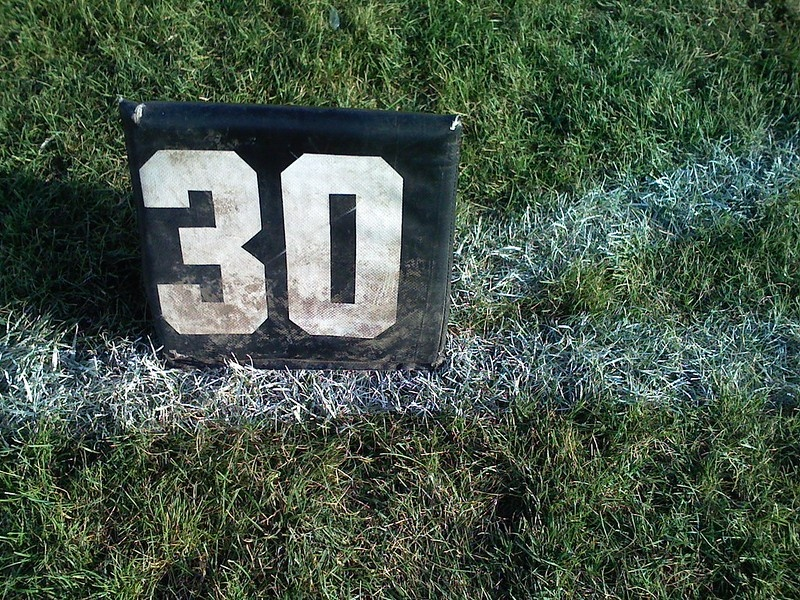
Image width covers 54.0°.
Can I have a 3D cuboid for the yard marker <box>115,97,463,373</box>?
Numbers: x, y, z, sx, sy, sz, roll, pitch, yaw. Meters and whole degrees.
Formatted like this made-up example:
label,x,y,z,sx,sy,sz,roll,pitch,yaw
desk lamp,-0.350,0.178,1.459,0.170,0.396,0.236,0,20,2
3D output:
label,x,y,z,sx,sy,sz,roll,pitch,yaw
yard marker,-0.435,-0.242,3.169,1.067,1.039,0.154,2,15,0
